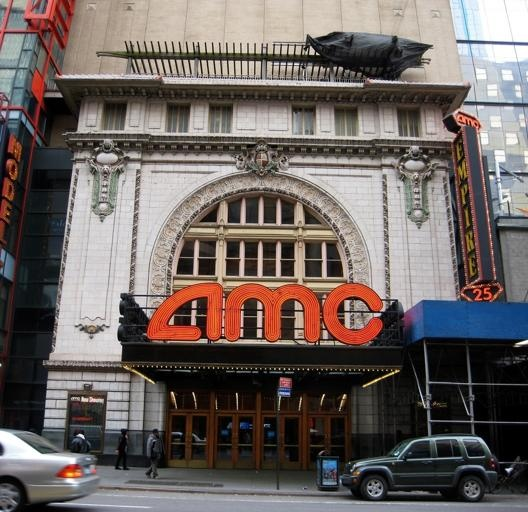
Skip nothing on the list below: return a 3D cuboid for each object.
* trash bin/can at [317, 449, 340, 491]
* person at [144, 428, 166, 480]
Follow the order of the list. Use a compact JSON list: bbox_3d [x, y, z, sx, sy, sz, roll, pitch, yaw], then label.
[{"bbox_3d":[2.381,7.966,25.065,0.781,1.368,0.743,-3,-23,7],"label":"trash bin/can"},{"bbox_3d":[-4.360,7.875,27.063,0.644,1.976,1.010,4,-23,-8],"label":"person"}]
